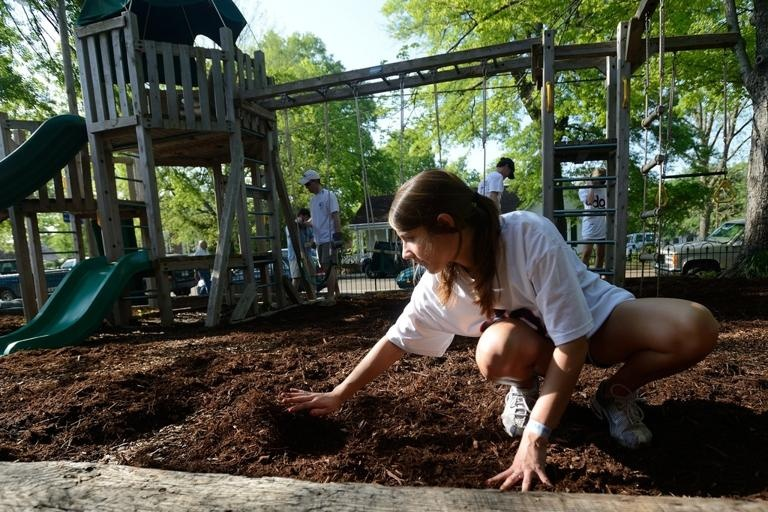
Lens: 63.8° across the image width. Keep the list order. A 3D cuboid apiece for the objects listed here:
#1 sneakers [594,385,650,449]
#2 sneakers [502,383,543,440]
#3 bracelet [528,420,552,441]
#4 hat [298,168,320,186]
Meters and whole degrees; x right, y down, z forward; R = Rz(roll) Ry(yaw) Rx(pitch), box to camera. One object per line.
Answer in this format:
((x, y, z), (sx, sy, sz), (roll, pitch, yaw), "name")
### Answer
((1.919, 1.296, 5.013), (0.250, 0.288, 0.605), (-17, 38, -1), "sneakers")
((1.109, 1.268, 5.035), (0.202, 0.211, 0.487), (-1, 7, 19), "sneakers")
((1.157, 1.284, 4.553), (0.137, 0.088, 0.134), (12, -2, -30), "bracelet")
((-1.207, -1.262, 9.906), (0.366, 0.235, 0.242), (-8, 12, -17), "hat")
